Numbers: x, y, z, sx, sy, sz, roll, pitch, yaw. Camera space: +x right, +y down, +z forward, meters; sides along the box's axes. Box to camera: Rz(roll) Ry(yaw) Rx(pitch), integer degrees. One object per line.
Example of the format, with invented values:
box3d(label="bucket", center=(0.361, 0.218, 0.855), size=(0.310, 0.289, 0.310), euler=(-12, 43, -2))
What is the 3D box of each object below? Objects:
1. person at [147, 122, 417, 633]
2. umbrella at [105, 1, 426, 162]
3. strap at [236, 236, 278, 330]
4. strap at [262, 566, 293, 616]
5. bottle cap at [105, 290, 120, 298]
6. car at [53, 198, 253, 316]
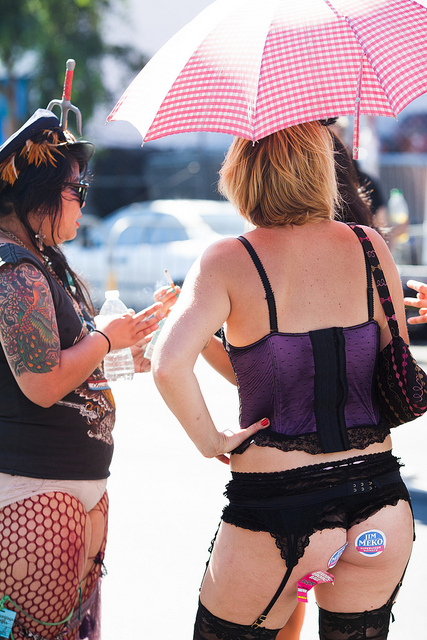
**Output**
box3d(label="person", center=(0.199, 0.165, 1.964), size=(0.714, 1.367, 0.414), euler=(-5, 11, -6))
box3d(label="umbrella", center=(0.222, -0.683, 2.007), size=(0.632, 0.204, 0.588), euler=(-21, 29, -19))
box3d(label="strap", center=(0.112, -0.099, 1.918), size=(0.041, 0.232, 0.129), euler=(-8, 12, -23))
box3d(label="strap", center=(0.156, 0.675, 1.861), size=(0.025, 0.170, 0.019), euler=(31, -1, 6))
box3d(label="bottle cap", center=(-0.389, -0.098, 2.743), size=(0.067, 0.027, 0.062), euler=(-2, 2, 7))
box3d(label="car", center=(-1.043, -1.143, 11.842), size=(3.487, 1.107, 1.635), euler=(10, 15, 44))
